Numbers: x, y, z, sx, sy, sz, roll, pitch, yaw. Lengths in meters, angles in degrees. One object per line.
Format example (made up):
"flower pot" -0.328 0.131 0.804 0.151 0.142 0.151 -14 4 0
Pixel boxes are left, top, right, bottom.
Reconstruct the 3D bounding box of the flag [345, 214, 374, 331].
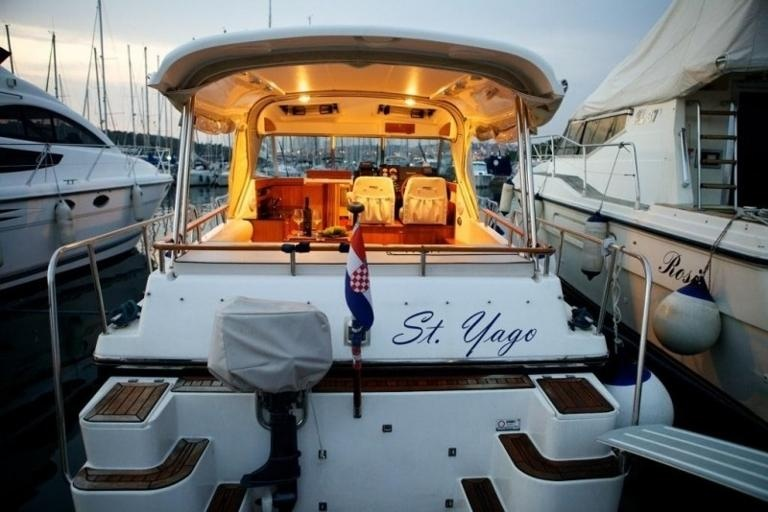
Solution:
"flag" -0.205 0.182 4.072 0.221 0.937 0.250 0 9 -4
